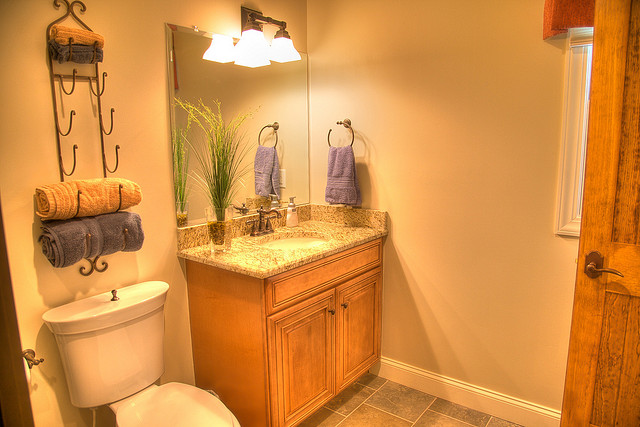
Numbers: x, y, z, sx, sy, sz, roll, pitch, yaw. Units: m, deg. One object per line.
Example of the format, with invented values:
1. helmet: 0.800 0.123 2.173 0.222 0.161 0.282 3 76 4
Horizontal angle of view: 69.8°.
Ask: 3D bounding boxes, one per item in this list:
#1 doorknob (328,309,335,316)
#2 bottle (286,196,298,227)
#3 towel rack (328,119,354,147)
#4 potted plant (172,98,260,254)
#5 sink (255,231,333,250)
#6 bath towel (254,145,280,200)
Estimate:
1. doorknob: 0.076 0.611 2.811 0.027 0.026 0.036 -4 0 -37
2. bottle: -0.189 -0.010 3.287 0.073 0.211 0.113 2 12 25
3. towel rack: 0.166 -0.561 3.187 0.150 0.183 0.048 2 12 21
4. potted plant: -0.602 -0.204 2.755 0.463 0.902 0.491 3 6 40
5. sink: -0.161 0.191 3.074 0.497 0.103 0.220 -3 10 -2
6. bath towel: -0.369 -0.284 3.184 0.031 0.368 0.219 8 15 44
